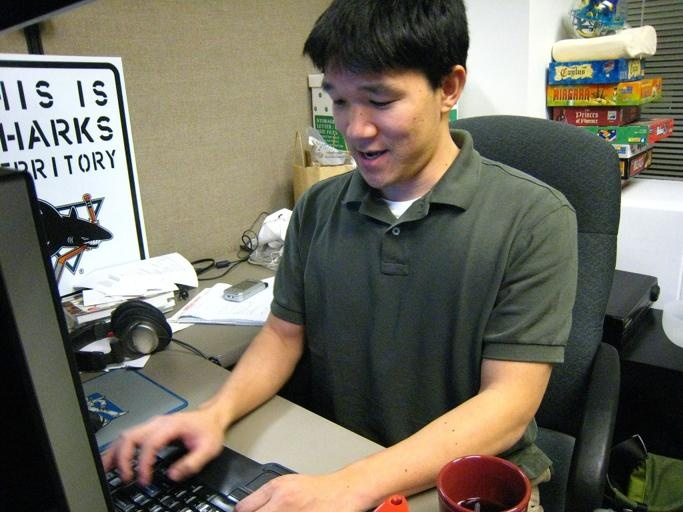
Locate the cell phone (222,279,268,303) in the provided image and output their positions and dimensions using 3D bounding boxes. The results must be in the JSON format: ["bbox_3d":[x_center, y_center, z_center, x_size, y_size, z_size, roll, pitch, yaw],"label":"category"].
[{"bbox_3d":[-0.265,0.085,1.498,0.060,0.020,0.083,5,18,36],"label":"cell phone"}]
